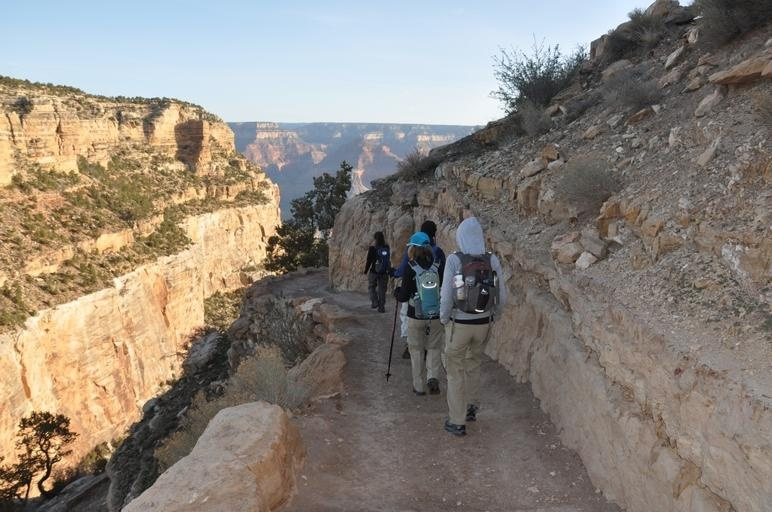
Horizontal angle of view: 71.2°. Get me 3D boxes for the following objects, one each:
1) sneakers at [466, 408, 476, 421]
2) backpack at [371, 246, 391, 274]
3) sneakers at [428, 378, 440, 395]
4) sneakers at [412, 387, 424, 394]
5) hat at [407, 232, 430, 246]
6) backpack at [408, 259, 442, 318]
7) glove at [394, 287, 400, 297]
[{"bbox_3d":[1.427,2.667,9.123,0.159,0.206,0.082,4,-31,2],"label":"sneakers"},{"bbox_3d":[-0.134,0.118,13.789,0.426,0.705,0.238,1,8,-2],"label":"backpack"},{"bbox_3d":[0.857,2.384,9.888,0.163,0.208,0.302,0,18,3],"label":"sneakers"},{"bbox_3d":[0.580,2.471,9.890,0.116,0.091,0.149,5,-16,-11],"label":"sneakers"},{"bbox_3d":[0.555,-0.302,9.386,0.308,0.224,0.415,2,7,4],"label":"hat"},{"bbox_3d":[0.657,0.601,9.250,0.481,0.981,0.233,1,8,-2],"label":"backpack"},{"bbox_3d":[0.182,0.620,9.317,0.086,0.181,0.175,0,7,-8],"label":"glove"}]
